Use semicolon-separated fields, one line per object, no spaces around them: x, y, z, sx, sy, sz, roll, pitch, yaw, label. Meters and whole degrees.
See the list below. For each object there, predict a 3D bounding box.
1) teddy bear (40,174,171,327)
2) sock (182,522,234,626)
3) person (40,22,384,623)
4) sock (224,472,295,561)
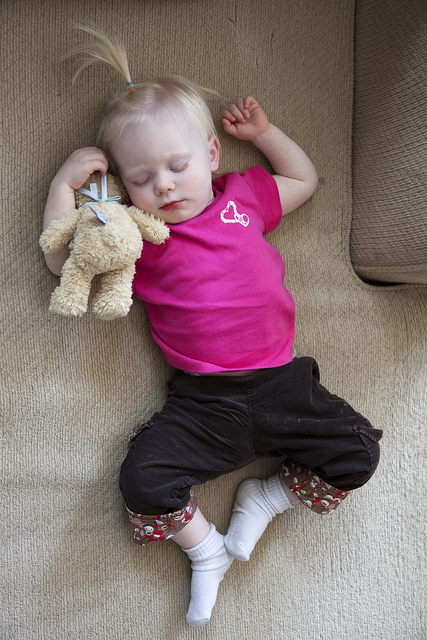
-0.207;-0.121;1.091;0.240;0.126;0.268;2;71;-26;teddy bear
-0.014;0.511;1.211;0.122;0.048;0.169;-11;102;-14;sock
0.034;0.056;1.420;0.687;0.353;1.227;-13;94;8;person
0.089;0.398;1.267;0.136;0.058;0.185;22;69;-37;sock
